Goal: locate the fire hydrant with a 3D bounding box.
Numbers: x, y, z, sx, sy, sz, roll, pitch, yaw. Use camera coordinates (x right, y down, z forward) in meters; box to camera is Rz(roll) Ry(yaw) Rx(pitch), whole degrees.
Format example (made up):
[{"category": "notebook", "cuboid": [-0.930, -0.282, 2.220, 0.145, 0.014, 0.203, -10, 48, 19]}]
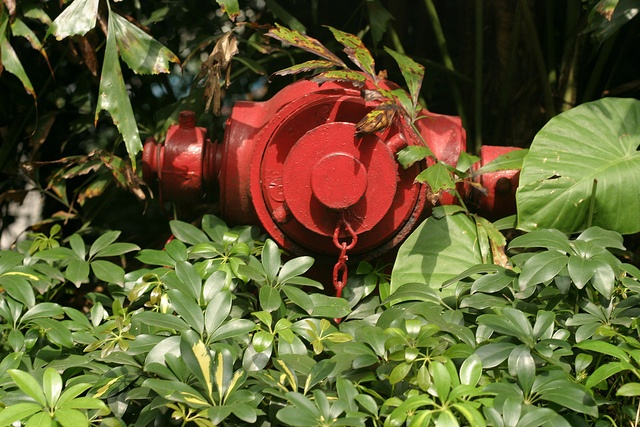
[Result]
[{"category": "fire hydrant", "cuboid": [-0.107, -0.099, 3.328, 1.090, 0.789, 0.388, 8, 23, 24]}]
